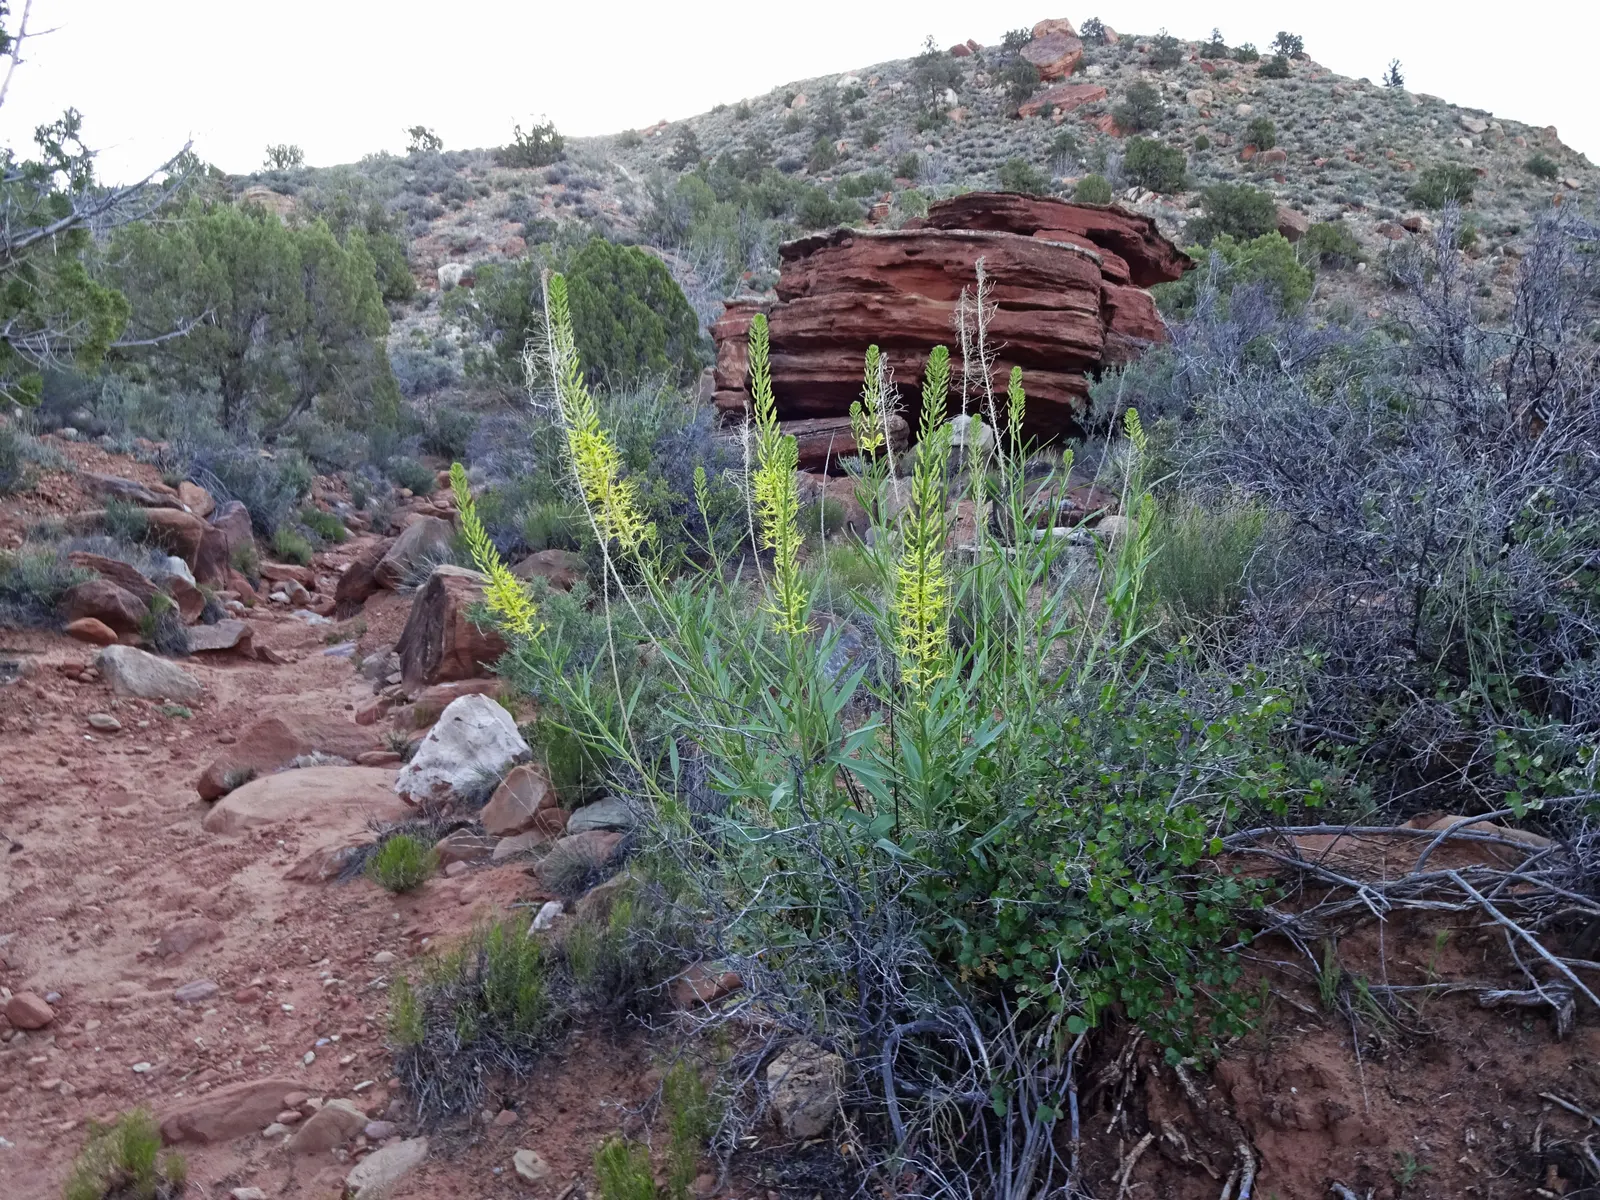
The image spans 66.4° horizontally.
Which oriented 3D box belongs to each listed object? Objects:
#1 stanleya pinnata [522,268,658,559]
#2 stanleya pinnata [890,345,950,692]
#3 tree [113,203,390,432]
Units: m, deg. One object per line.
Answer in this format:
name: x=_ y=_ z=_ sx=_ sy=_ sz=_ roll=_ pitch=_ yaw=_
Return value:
stanleya pinnata: x=-0.691 y=-0.589 z=4.012 sx=0.355 sy=0.988 sz=0.641 roll=-5 pitch=12 yaw=-8
stanleya pinnata: x=0.377 y=-0.210 z=3.766 sx=0.173 sy=1.123 sz=0.152 roll=0 pitch=5 yaw=4
tree: x=-6.234 y=-3.106 z=13.775 sx=2.506 sy=3.105 sz=3.370 roll=-1 pitch=8 yaw=1
